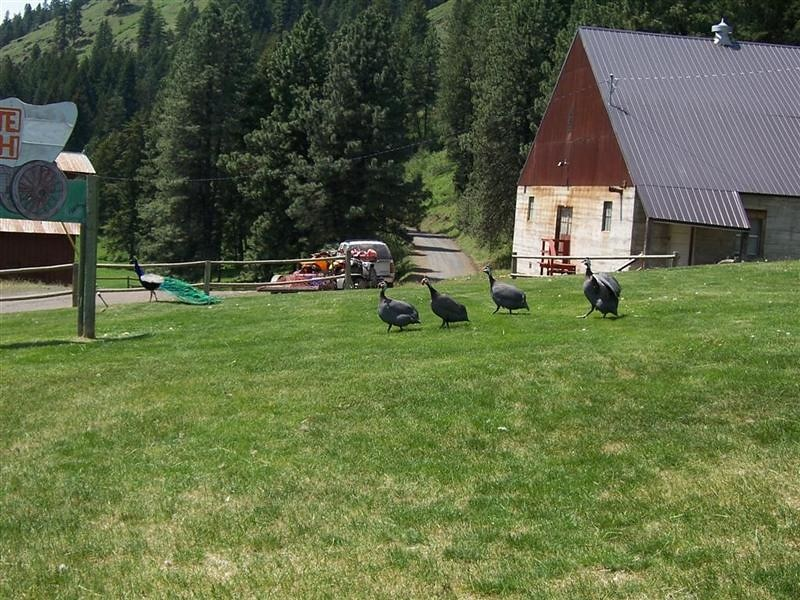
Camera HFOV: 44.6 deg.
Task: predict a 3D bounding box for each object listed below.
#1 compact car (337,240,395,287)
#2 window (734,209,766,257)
[{"bbox_3d":[-1.162,-1.829,45.024,1.650,1.768,2.670,0,-3,30],"label":"compact car"},{"bbox_3d":[14.025,-2.603,38.984,1.037,2.022,0.537,-1,4,-18],"label":"window"}]
